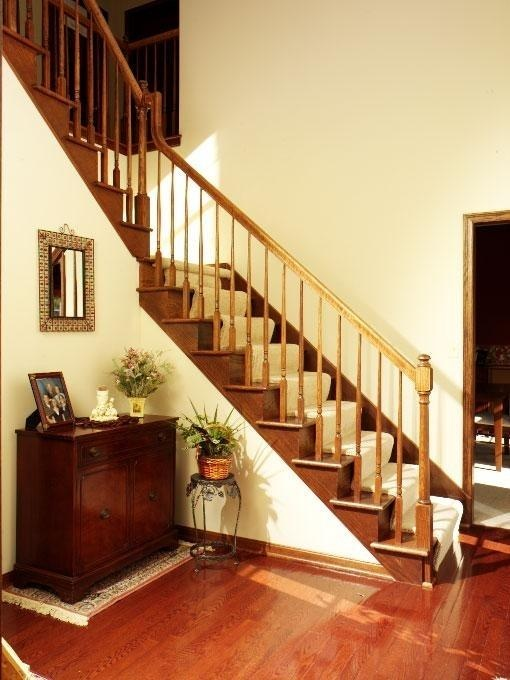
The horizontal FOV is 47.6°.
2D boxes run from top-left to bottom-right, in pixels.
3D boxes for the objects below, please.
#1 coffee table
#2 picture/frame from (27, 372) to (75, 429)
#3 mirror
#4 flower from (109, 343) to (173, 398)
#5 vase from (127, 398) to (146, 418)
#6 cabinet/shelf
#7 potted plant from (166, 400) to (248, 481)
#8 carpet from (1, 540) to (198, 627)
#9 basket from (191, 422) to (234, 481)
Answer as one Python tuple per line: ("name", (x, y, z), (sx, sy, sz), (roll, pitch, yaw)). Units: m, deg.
("coffee table", (-0.239, 1.046, 3.332), (0.276, 0.526, 0.332), (-2, -5, 6))
("picture/frame", (-1.072, 0.320, 3.002), (0.033, 0.288, 0.224), (-15, -1, 16))
("mirror", (-1.071, -0.344, 3.238), (0.038, 0.870, 0.524), (1, 1, 25))
("flower", (-0.715, 0.223, 3.553), (0.244, 0.335, 0.291), (8, 15, 1))
("vase", (-0.710, 0.406, 3.510), (0.106, 0.148, 0.120), (-3, -2, 33))
("cabinet/shelf", (-0.799, 0.843, 3.158), (0.316, 0.847, 0.826), (1, 2, 32))
("potted plant", (-0.232, 0.577, 3.217), (0.303, 0.401, 0.301), (4, -9, -3))
("carpet", (-0.825, 1.231, 3.023), (0.626, 0.039, 0.905), (0, 1, 26))
("basket", (-0.231, 0.630, 3.208), (0.179, 0.271, 0.217), (1, -6, 14))
